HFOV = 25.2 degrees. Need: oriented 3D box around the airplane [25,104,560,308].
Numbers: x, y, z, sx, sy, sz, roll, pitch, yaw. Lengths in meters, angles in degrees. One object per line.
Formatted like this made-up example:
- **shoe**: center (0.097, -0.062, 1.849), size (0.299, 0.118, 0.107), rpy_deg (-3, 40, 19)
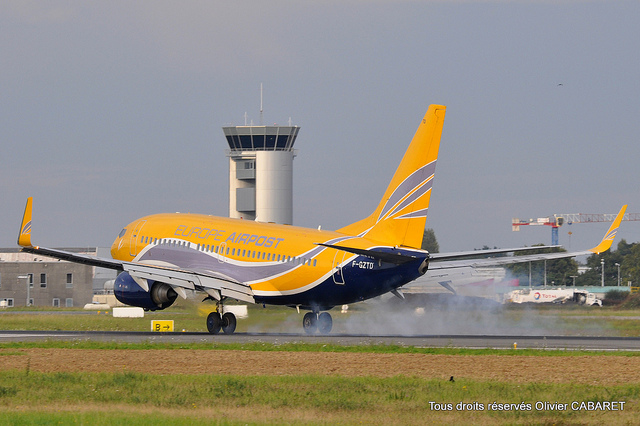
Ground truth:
- **airplane**: center (-2.885, -0.128, 86.234), size (36.887, 12.022, 30.812), rpy_deg (0, 4, -37)
